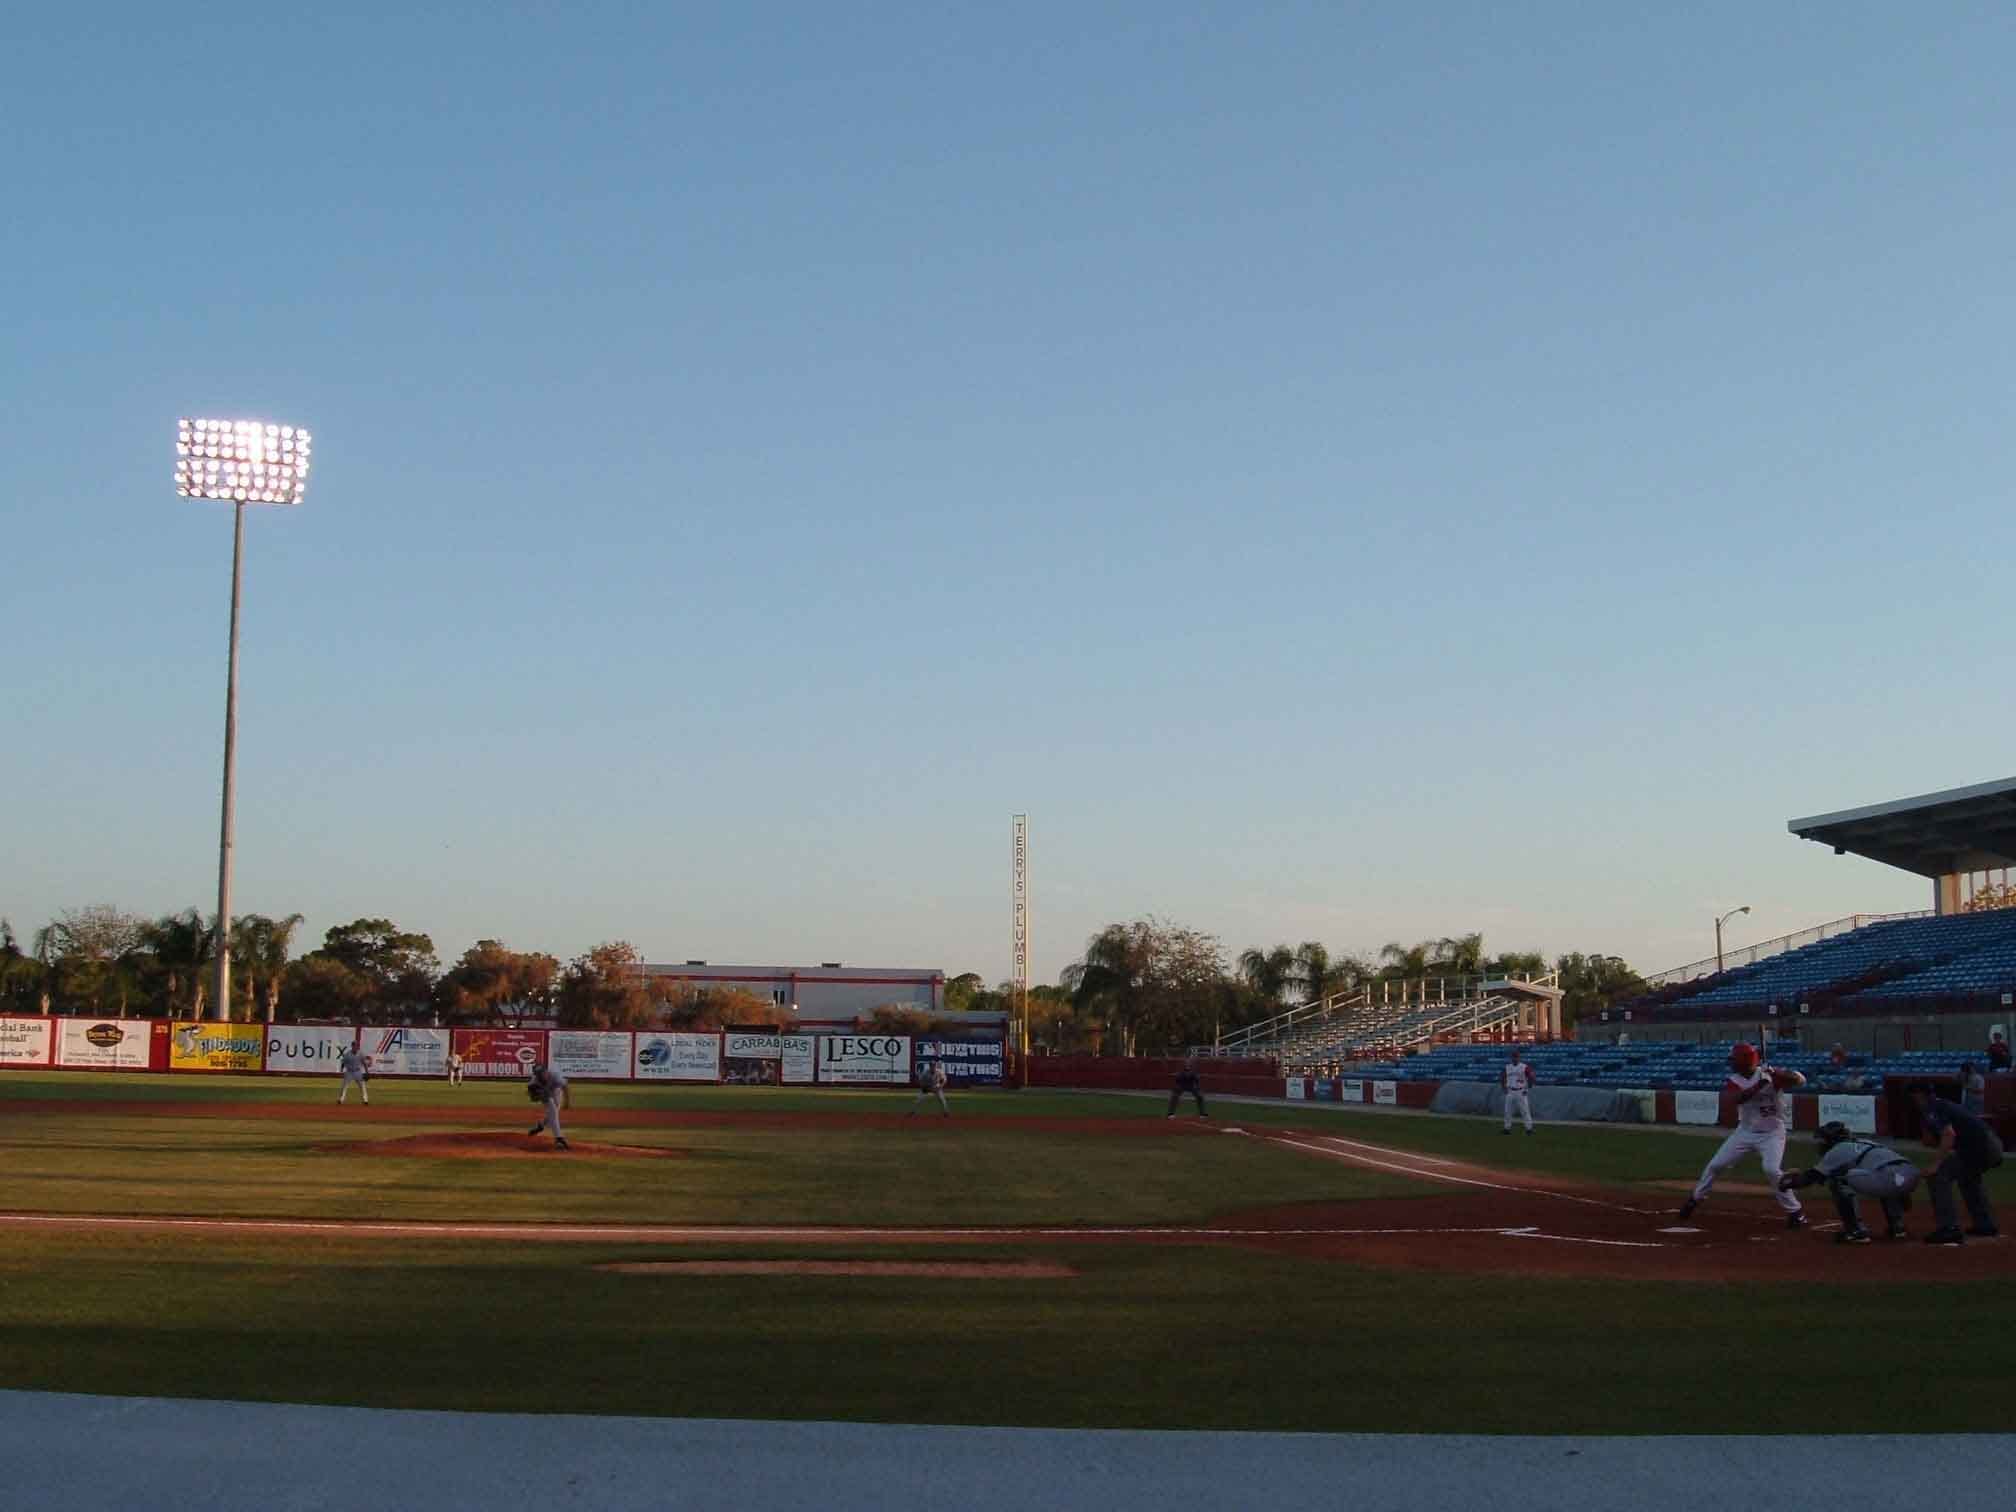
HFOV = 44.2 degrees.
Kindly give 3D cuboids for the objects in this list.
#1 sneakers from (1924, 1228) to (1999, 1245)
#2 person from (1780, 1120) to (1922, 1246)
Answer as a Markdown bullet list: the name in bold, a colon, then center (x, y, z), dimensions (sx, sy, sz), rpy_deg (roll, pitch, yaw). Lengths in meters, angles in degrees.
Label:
- **sneakers**: center (9.906, 4.981, 25.835), dimensions (0.665, 0.232, 0.200), rpy_deg (2, -9, 3)
- **person**: center (8.913, 4.410, 26.077), dimensions (1.349, 1.006, 1.084), rpy_deg (-10, -8, 33)
